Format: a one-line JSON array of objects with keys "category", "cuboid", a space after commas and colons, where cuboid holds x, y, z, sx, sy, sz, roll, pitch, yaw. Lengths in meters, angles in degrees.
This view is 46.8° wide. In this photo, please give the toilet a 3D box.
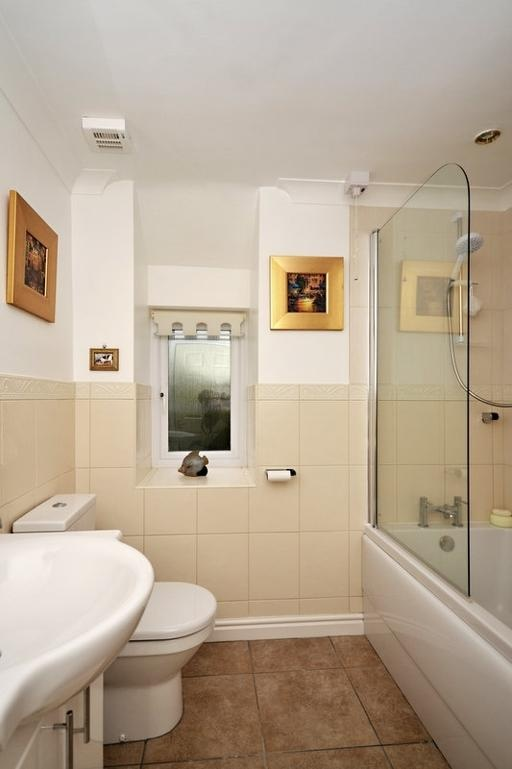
[{"category": "toilet", "cuboid": [-0.427, 0.752, 1.970, 0.624, 0.692, 0.446, 3, 4, -3]}]

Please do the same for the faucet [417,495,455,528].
[{"category": "faucet", "cuboid": [0.584, 0.418, 1.917, 0.050, 0.070, 0.109, 2, -7, -18]}]
